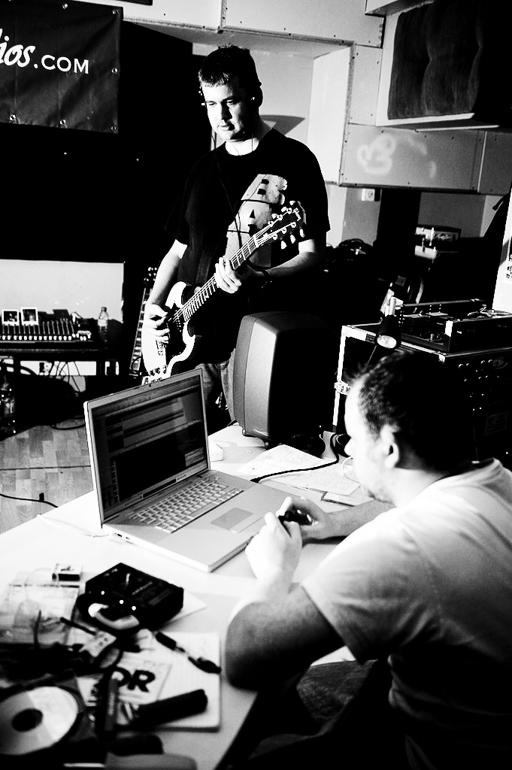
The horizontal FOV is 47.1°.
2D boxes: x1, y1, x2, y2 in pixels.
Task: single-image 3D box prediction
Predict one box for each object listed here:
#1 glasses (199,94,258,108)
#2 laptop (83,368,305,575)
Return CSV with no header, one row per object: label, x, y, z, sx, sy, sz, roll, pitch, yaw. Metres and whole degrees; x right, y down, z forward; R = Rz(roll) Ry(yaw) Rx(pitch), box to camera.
glasses,-0.135,-1.530,3.144,0.297,0.055,0.083,6,11,6
laptop,-0.173,0.221,1.431,0.391,0.407,0.496,21,20,21
